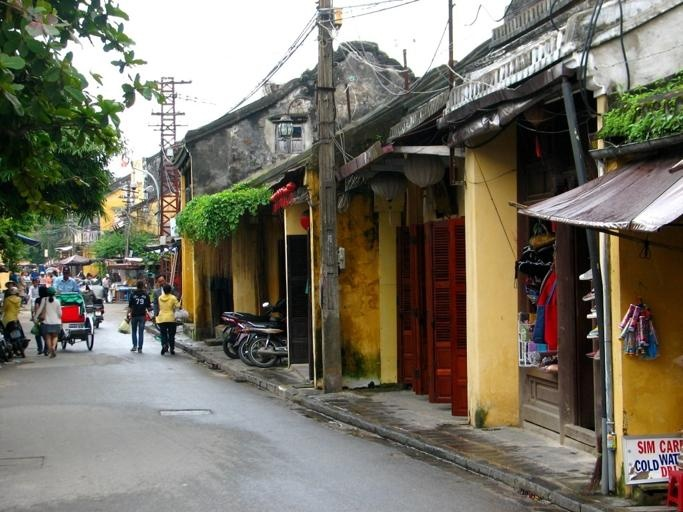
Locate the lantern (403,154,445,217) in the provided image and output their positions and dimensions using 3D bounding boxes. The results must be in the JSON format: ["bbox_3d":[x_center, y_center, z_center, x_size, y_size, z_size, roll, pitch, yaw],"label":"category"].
[{"bbox_3d":[1.363,-1.167,12.478,0.542,1.028,0.596,-2,6,-20],"label":"lantern"}]

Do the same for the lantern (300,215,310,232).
[{"bbox_3d":[-0.766,-0.706,16.427,0.271,0.312,0.287,2,5,32],"label":"lantern"}]

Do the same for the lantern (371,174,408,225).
[{"bbox_3d":[0.856,-1.066,13.745,0.532,0.966,0.545,-3,6,-23],"label":"lantern"}]

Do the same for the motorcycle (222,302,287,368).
[{"bbox_3d":[-1.976,1.933,18.212,1.780,1.417,1.066,-1,-1,-5],"label":"motorcycle"}]

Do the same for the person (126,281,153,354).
[{"bbox_3d":[-5.667,1.692,21.035,0.604,2.036,0.603,0,4,-17],"label":"person"}]

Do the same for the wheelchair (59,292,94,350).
[{"bbox_3d":[-7.321,1.686,20.833,0.866,1.841,0.919,-1,4,-30],"label":"wheelchair"}]

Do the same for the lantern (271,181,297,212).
[{"bbox_3d":[-1.263,-1.311,16.601,0.253,0.550,1.527,11,-7,-10],"label":"lantern"}]
